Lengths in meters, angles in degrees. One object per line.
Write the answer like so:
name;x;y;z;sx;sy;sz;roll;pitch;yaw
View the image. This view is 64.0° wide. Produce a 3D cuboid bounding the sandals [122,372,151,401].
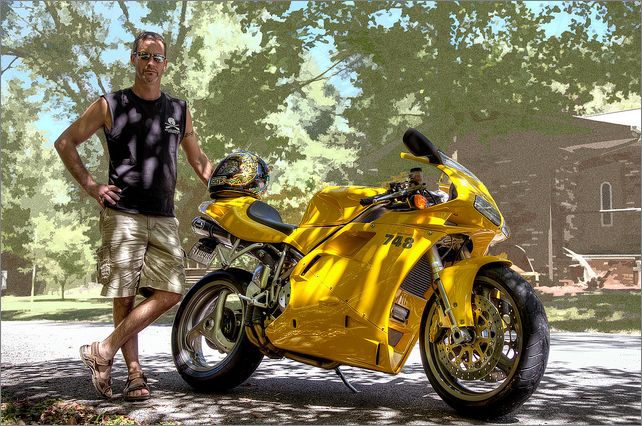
sandals;-1.987;1.764;5.496;0.269;0.256;0.208;3;-6;-20
